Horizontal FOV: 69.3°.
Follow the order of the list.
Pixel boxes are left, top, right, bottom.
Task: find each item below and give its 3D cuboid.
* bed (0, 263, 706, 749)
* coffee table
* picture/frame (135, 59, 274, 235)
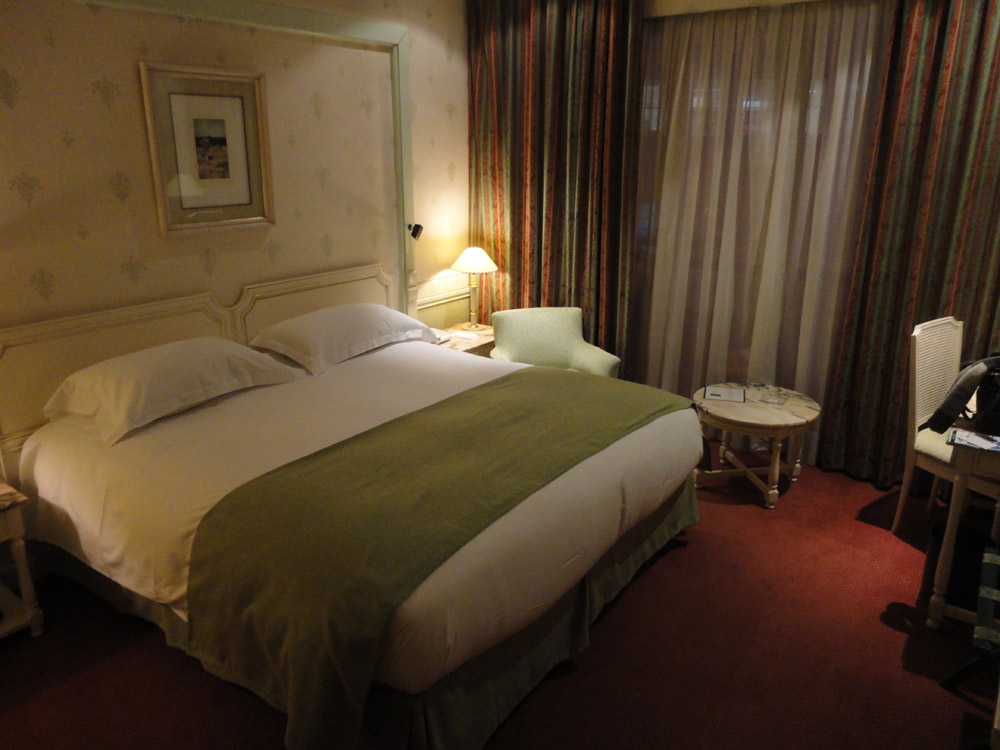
[{"bbox_3d":[-0.959,0.563,3.656,2.481,1.197,2.714,17,30,32],"label":"bed"},{"bbox_3d":[1.858,0.330,5.177,0.878,0.721,0.903,17,34,32],"label":"coffee table"},{"bbox_3d":[-1.868,-1.443,4.502,0.072,1.166,0.876,15,26,40],"label":"picture/frame"}]
